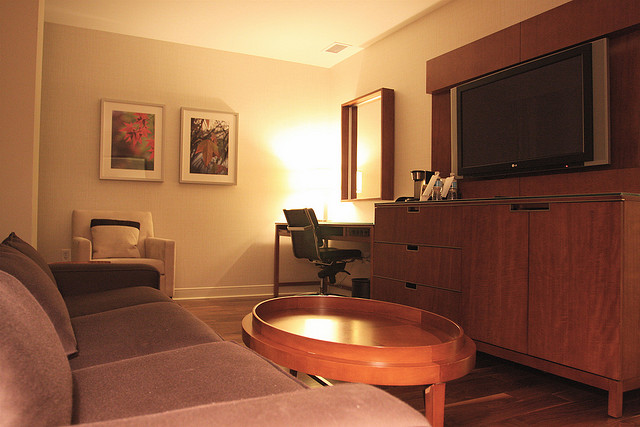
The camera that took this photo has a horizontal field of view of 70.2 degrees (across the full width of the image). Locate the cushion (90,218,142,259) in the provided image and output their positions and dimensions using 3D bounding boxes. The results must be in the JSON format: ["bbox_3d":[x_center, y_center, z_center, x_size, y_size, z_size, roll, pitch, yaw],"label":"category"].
[{"bbox_3d":[-2.045,0.257,4.508,0.411,0.342,0.166,1,-6,-27],"label":"cushion"}]

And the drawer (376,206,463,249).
[{"bbox_3d":[0.687,0.142,4.002,0.806,0.322,1.062,2,-8,-13],"label":"drawer"}]

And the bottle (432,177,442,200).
[{"bbox_3d":[0.955,-0.205,3.708,0.075,0.179,0.084,2,2,10],"label":"bottle"}]

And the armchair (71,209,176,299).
[{"bbox_3d":[-1.966,0.393,4.446,0.846,0.837,0.857,3,-2,-40],"label":"armchair"}]

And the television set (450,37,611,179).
[{"bbox_3d":[1.594,-0.773,3.368,0.179,0.832,1.283,-1,0,-36],"label":"television set"}]

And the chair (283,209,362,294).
[{"bbox_3d":[0.037,0.485,4.896,0.731,1.002,0.639,3,-3,-30],"label":"chair"}]

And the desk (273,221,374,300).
[{"bbox_3d":[0.120,0.509,4.894,1.204,0.761,0.433,0,-1,32],"label":"desk"}]

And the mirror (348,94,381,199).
[{"bbox_3d":[0.504,-0.745,5.247,0.139,1.126,0.705,1,2,-18],"label":"mirror"}]
